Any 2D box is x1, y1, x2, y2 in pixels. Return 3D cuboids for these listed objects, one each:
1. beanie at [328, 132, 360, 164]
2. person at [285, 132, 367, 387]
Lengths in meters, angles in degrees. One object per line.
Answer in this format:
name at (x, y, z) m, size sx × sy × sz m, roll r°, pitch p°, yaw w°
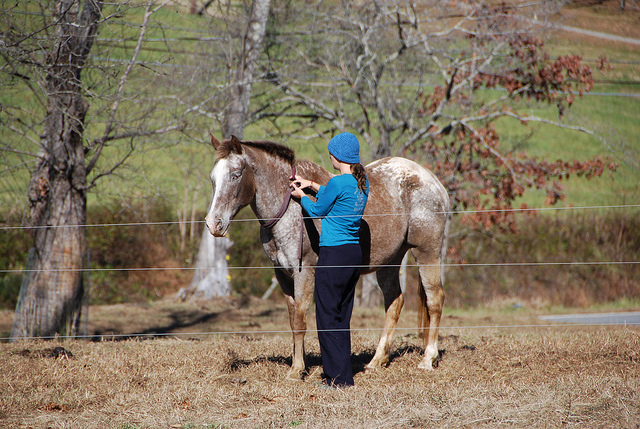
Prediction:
beanie at (0.460, -1.270, 24.668) m, size 0.554 × 0.423 × 0.438 m, roll 29°, pitch 17°, yaw -8°
person at (0.336, 0.848, 24.613) m, size 0.979 × 4.618 × 0.267 m, roll -1°, pitch 2°, yaw -2°
